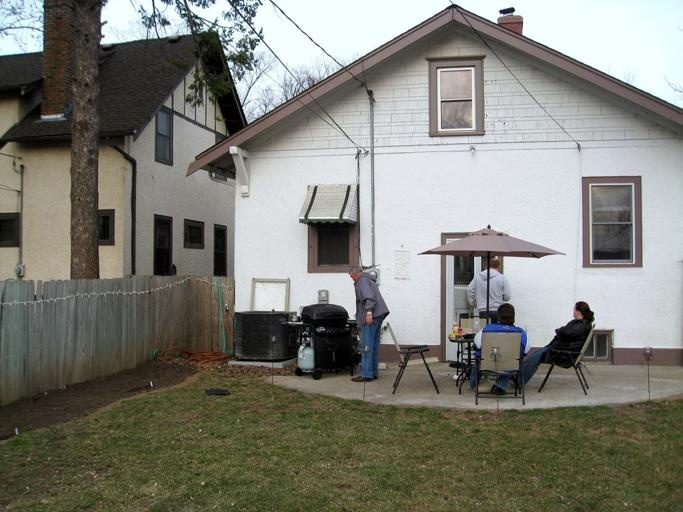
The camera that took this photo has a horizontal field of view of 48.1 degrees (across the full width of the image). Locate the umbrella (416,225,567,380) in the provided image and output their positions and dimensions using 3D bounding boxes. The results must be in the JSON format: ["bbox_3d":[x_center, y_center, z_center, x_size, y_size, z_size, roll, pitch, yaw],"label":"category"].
[{"bbox_3d":[2.703,0.737,14.336,1.978,1.617,2.195,2,2,21],"label":"umbrella"}]

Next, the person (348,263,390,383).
[{"bbox_3d":[0.544,1.448,15.193,0.708,2.323,0.797,0,14,1],"label":"person"}]

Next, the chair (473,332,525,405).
[{"bbox_3d":[2.795,1.883,13.629,0.819,1.534,1.085,0,18,11],"label":"chair"}]

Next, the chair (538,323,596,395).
[{"bbox_3d":[4.397,1.975,14.678,1.232,1.850,1.234,0,-7,15],"label":"chair"}]

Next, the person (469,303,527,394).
[{"bbox_3d":[2.812,1.647,13.722,0.903,1.651,0.862,5,1,33],"label":"person"}]

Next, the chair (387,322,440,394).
[{"bbox_3d":[1.349,1.921,14.562,1.007,1.313,1.002,-2,-5,15],"label":"chair"}]

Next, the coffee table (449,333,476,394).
[{"bbox_3d":[2.406,2.015,14.394,0.673,0.877,1.322,-2,-3,2],"label":"coffee table"}]

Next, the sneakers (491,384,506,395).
[{"bbox_3d":[2.813,2.430,13.742,0.318,0.148,0.124,-1,0,22],"label":"sneakers"}]

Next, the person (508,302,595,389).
[{"bbox_3d":[4.144,1.664,14.402,1.284,1.462,0.973,-5,7,33],"label":"person"}]
